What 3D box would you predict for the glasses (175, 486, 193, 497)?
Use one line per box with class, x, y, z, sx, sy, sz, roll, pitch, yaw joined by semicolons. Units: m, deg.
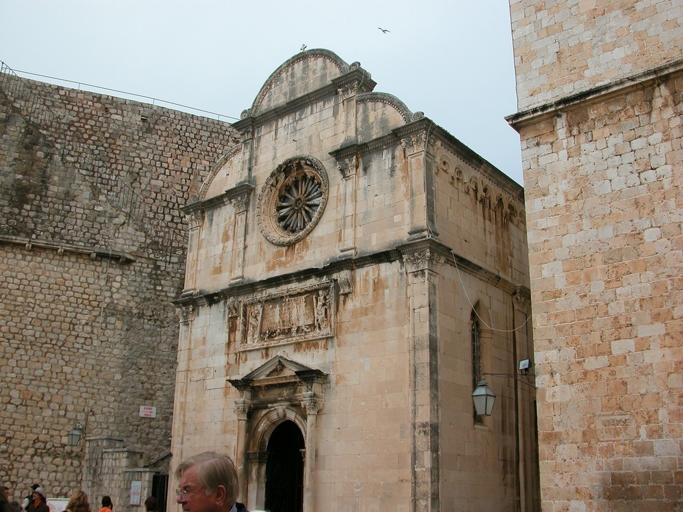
glasses;-1.616;2.410;7.591;0.143;0.071;0.154;1;-32;3
